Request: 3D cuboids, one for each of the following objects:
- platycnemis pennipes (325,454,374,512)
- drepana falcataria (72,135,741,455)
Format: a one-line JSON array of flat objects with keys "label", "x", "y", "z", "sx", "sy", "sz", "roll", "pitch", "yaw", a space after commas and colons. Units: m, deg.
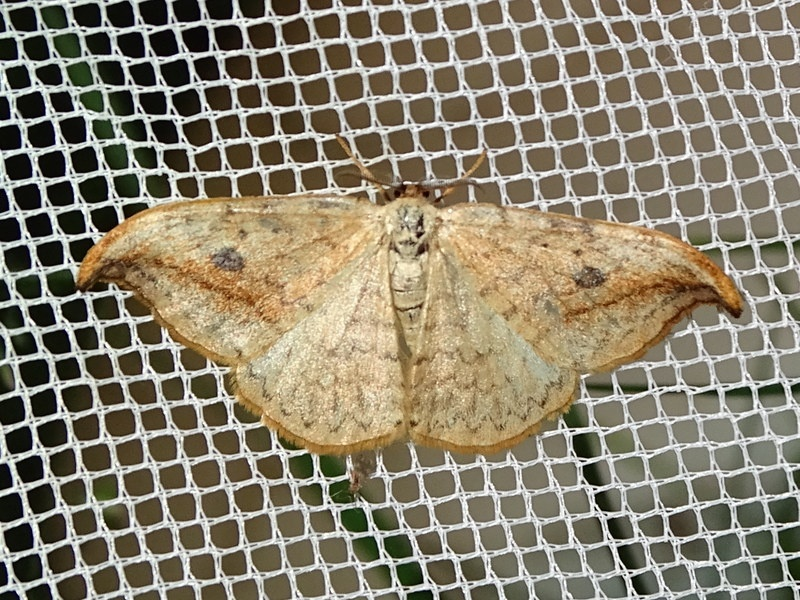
[{"label": "platycnemis pennipes", "x": -0.166, "y": 0.619, "z": 3.842, "sx": 0.140, "sy": 0.090, "sz": 0.199, "roll": 14, "pitch": 82, "yaw": 1}, {"label": "drepana falcataria", "x": 0.004, "y": -0.058, "z": 3.579, "sx": 1.305, "sy": 0.405, "sz": 1.346, "roll": -44, "pitch": 85, "yaw": -7}]
